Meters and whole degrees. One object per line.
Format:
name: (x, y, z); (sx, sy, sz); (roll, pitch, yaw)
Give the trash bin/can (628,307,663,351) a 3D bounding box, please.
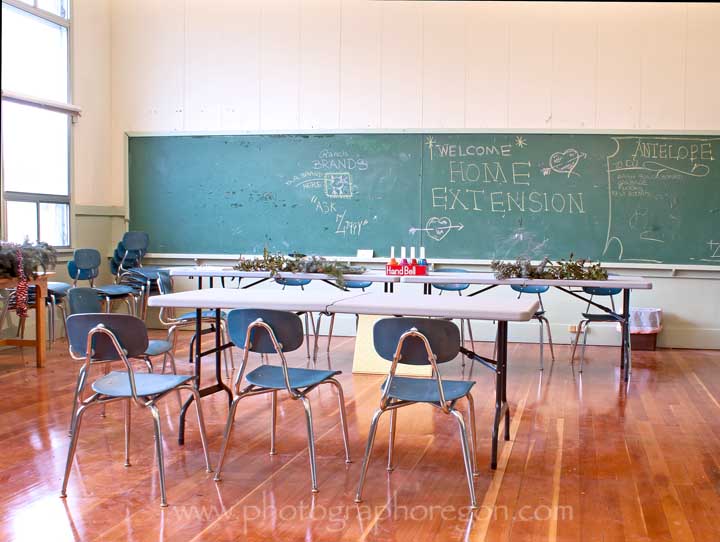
trash bin/can: (2.999, 0.634, 6.460); (0.394, 0.469, 0.432); (0, -4, 8)
